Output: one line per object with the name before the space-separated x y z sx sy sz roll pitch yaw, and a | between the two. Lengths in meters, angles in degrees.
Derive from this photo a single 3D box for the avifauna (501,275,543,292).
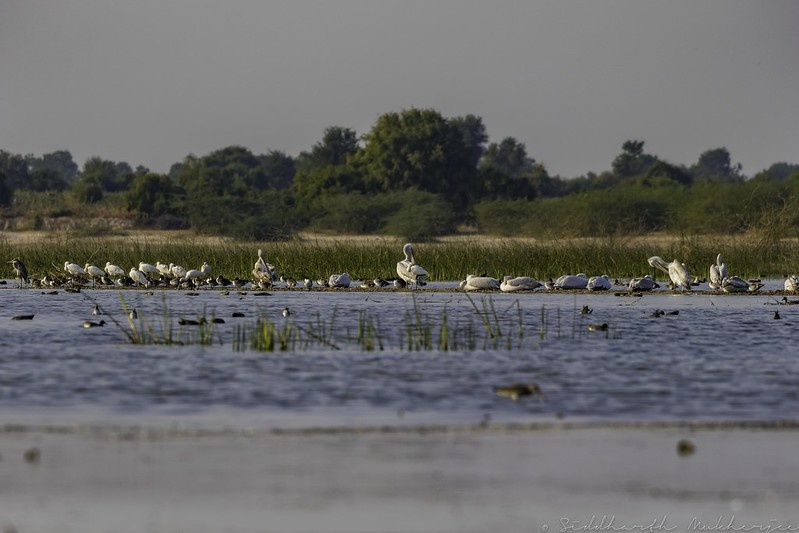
avifauna | 3.852 0.569 49.694 1.015 0.450 0.567 -1 -2 9

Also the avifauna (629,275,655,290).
avifauna | 7.733 0.574 50.119 0.671 0.283 0.481 -6 -1 34

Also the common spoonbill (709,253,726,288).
common spoonbill | 10.262 0.238 50.709 0.540 0.980 1.600 0 11 11

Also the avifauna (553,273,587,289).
avifauna | 5.467 0.565 50.252 0.759 0.270 0.554 -11 -5 29

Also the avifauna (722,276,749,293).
avifauna | 10.742 0.599 49.794 0.443 0.535 0.775 -14 9 32

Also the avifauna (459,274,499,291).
avifauna | 2.549 0.589 49.879 1.057 0.450 0.523 -6 -4 39
